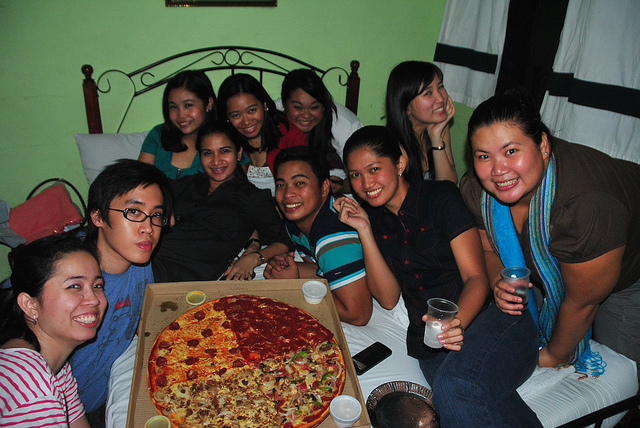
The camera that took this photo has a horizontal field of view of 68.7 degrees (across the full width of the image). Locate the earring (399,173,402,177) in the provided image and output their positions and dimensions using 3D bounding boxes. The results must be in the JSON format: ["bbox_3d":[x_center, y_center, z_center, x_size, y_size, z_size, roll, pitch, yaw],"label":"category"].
[{"bbox_3d":[0.529,-0.263,3.119,0.025,0.025,0.006,-34,23,-32],"label":"earring"}]

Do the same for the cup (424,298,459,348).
[{"bbox_3d":[0.675,0.615,2.638,0.172,0.268,0.095,3,18,15],"label":"cup"}]

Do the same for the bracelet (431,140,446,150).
[{"bbox_3d":[0.967,-0.565,3.818,0.065,0.024,0.072,-6,39,6],"label":"bracelet"}]

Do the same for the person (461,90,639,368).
[{"bbox_3d":[1.365,0.139,2.880,0.949,1.728,0.481,3,18,16],"label":"person"}]

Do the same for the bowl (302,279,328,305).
[{"bbox_3d":[-0.032,0.491,3.020,0.148,0.090,0.146,9,44,-9],"label":"bowl"}]

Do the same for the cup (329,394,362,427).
[{"bbox_3d":[0.132,1.036,2.478,0.149,0.093,0.148,1,43,-1],"label":"cup"}]

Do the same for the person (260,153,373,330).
[{"bbox_3d":[0.001,0.133,3.479,0.770,1.136,1.180,-5,17,-19],"label":"person"}]
